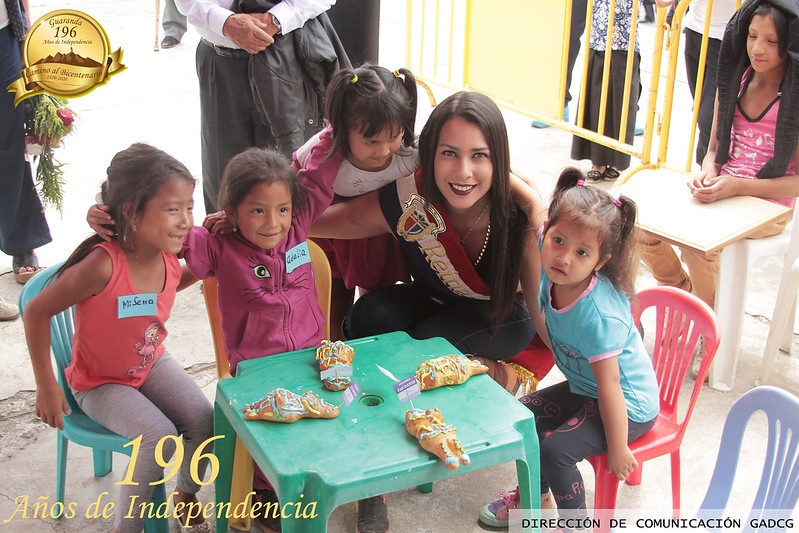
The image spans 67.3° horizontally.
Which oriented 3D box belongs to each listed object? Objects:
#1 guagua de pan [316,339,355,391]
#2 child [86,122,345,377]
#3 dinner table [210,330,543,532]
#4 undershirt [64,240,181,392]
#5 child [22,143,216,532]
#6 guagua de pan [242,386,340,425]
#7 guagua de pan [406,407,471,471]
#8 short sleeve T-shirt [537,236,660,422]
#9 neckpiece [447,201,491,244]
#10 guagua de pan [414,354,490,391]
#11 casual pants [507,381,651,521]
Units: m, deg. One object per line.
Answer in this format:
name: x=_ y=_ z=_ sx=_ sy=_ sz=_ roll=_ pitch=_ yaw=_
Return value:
guagua de pan: x=-0.221 y=0.333 z=2.082 sx=0.102 sy=0.049 sz=0.162 roll=-1 pitch=41 yaw=-5
child: x=-0.689 y=-0.045 z=2.388 sx=0.936 sy=1.243 sz=0.333 roll=-30 pitch=45 yaw=-35
dinner table: x=-0.073 y=0.471 z=1.955 sx=0.773 sy=0.574 sz=0.750 roll=-14 pitch=34 yaw=-22
undershirt: x=-1.013 y=0.181 z=2.269 sx=0.273 sy=0.537 sz=0.344 roll=11 pitch=5 yaw=22
child: x=-0.982 y=0.253 z=2.094 sx=0.587 sy=1.330 sz=0.342 roll=-4 pitch=13 yaw=-19
guagua de pan: x=-0.343 y=0.448 z=1.915 sx=0.252 sy=0.075 sz=0.123 roll=4 pitch=8 yaw=0
guagua de pan: x=0.115 y=0.509 z=1.823 sx=0.111 sy=0.071 sz=0.206 roll=-25 pitch=53 yaw=-28
short sleeve T-shirt: x=0.783 y=0.300 z=2.310 sx=0.323 sy=0.530 sz=0.497 roll=-15 pitch=14 yaw=-5
neckpiece: x=0.291 y=-0.184 z=2.476 sx=0.047 sy=0.155 sz=0.113 roll=2 pitch=5 yaw=-27
guagua de pan: x=0.170 y=0.349 z=2.075 sx=0.214 sy=0.058 sz=0.112 roll=-6 pitch=26 yaw=-16
casual pants: x=0.627 y=0.599 z=2.218 sx=0.436 sy=0.331 sz=0.429 roll=-25 pitch=32 yaw=-36
